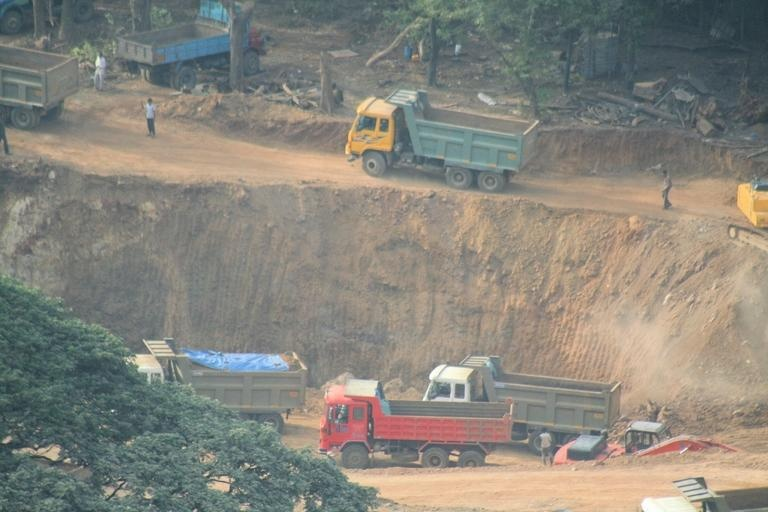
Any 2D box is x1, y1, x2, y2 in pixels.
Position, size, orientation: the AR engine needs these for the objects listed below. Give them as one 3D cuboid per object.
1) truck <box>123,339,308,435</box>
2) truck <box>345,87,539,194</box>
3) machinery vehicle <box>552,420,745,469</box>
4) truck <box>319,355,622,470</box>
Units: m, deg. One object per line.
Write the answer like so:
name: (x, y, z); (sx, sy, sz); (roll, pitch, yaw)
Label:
truck: (-7.579, 6.090, 110.175); (7.468, 4.285, 3.965); (0, 14, -11)
truck: (2.869, -5.897, 115.608); (9.089, 4.352, 2.709); (9, 19, 14)
machinery vehicle: (11.599, 9.416, 107.347); (8.199, 2.651, 3.006); (-5, 7, 15)
truck: (3.521, 7.552, 107.970); (12.638, 4.473, 3.083); (1, 18, -6)
